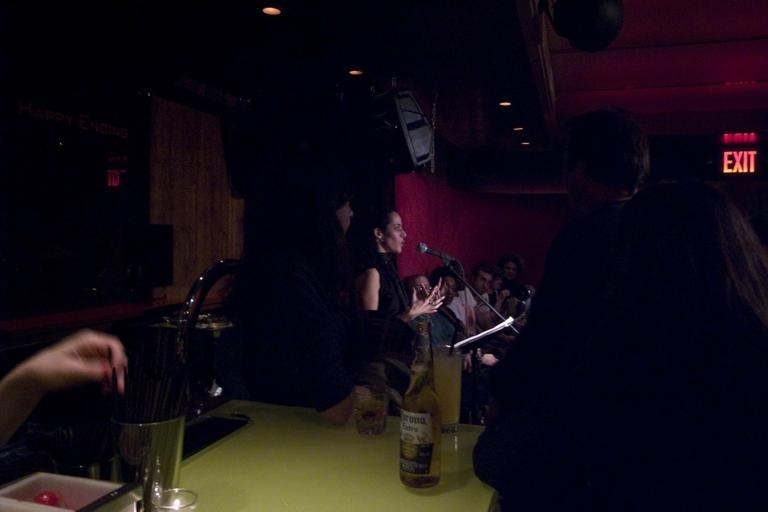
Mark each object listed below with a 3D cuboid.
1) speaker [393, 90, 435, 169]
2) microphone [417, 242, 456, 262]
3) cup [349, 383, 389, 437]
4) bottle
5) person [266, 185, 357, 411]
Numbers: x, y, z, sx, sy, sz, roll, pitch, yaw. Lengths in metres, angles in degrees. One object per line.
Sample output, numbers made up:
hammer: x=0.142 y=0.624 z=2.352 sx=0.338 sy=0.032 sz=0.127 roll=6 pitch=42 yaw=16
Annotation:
speaker: x=0.150 y=-0.602 z=2.837 sx=0.097 sy=0.337 sz=0.267 roll=-9 pitch=7 yaw=27
microphone: x=0.314 y=-0.028 z=3.725 sx=0.235 sy=0.061 sz=0.067 roll=27 pitch=10 yaw=-24
cup: x=-0.055 y=0.567 z=2.191 sx=0.139 sy=0.148 sz=0.144 roll=1 pitch=0 yaw=0
bottle: x=0.111 y=0.466 z=1.911 sx=0.137 sy=0.528 sz=0.207 roll=-1 pitch=-2 yaw=3
person: x=-0.247 y=0.150 z=2.603 sx=0.429 sy=0.942 sz=0.573 roll=0 pitch=-3 yaw=-24
